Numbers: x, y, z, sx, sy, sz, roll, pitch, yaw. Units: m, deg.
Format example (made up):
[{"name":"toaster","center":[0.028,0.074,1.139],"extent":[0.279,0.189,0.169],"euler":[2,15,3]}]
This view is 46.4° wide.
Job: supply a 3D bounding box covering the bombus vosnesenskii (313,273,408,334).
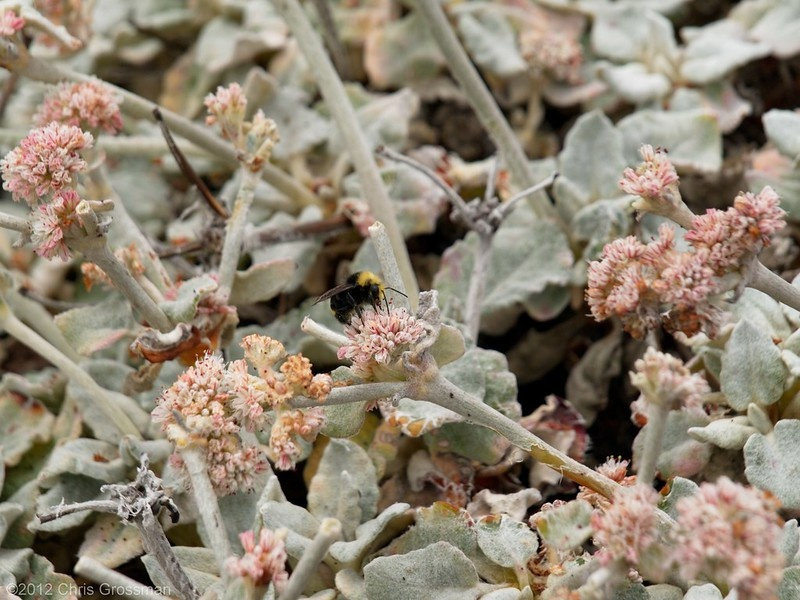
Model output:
[{"name":"bombus vosnesenskii","center":[-0.054,-0.002,1.192],"extent":[0.108,0.078,0.046],"euler":[-9,74,22]}]
